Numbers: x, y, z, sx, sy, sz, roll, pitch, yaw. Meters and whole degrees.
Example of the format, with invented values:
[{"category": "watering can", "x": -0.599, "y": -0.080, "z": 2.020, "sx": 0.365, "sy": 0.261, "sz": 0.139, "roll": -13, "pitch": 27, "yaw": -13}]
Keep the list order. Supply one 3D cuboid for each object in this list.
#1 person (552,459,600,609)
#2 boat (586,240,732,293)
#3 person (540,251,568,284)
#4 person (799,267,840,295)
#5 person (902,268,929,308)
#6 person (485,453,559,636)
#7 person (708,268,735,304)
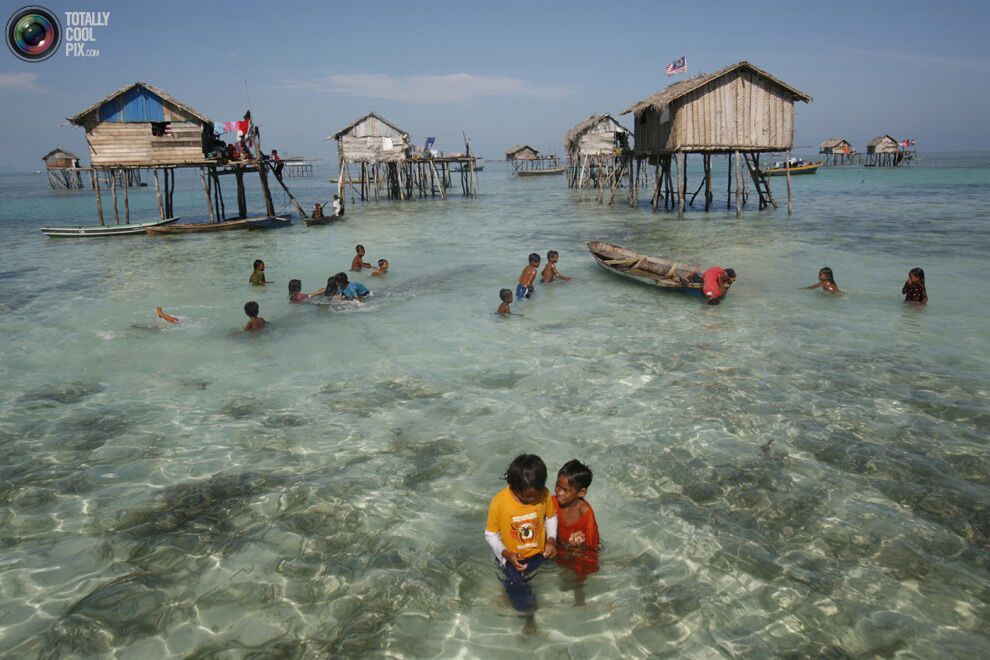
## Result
[{"category": "person", "x": 1.007, "y": 2.463, "z": 8.363, "sx": 0.528, "sy": 1.839, "sz": 0.388, "roll": -3, "pitch": 14, "yaw": 3}, {"category": "boat", "x": 4.160, "y": -1.558, "z": 19.306, "sx": 1.298, "sy": 0.938, "sz": 4.891, "roll": -42, "pitch": 35, "yaw": -19}, {"category": "person", "x": 1.579, "y": -1.805, "z": 19.146, "sx": 0.680, "sy": 0.877, "sz": 0.408, "roll": -14, "pitch": 17, "yaw": -37}, {"category": "person", "x": 8.527, "y": -1.297, "z": 17.439, "sx": 0.464, "sy": 0.652, "sz": 0.725, "roll": -8, "pitch": 14, "yaw": -18}, {"category": "person", "x": 10.166, "y": -1.080, "z": 16.346, "sx": 0.498, "sy": 0.878, "sz": 0.581, "roll": 5, "pitch": 16, "yaw": 31}, {"category": "person", "x": 0.330, "y": 2.500, "z": 8.164, "sx": 0.853, "sy": 2.127, "sz": 0.476, "roll": -4, "pitch": 14, "yaw": 1}, {"category": "person", "x": 5.709, "y": -1.164, "z": 16.948, "sx": 0.513, "sy": 0.824, "sz": 1.251, "roll": 4, "pitch": 14, "yaw": 29}]
